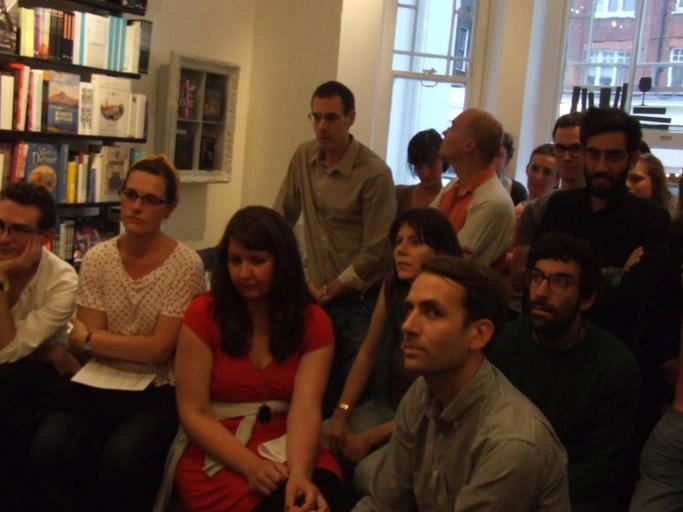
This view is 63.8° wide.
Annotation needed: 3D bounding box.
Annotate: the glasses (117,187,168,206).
[{"bbox_3d":[-0.862,-0.258,2.386,0.180,0.064,0.063,1,12,-12],"label":"glasses"}]
